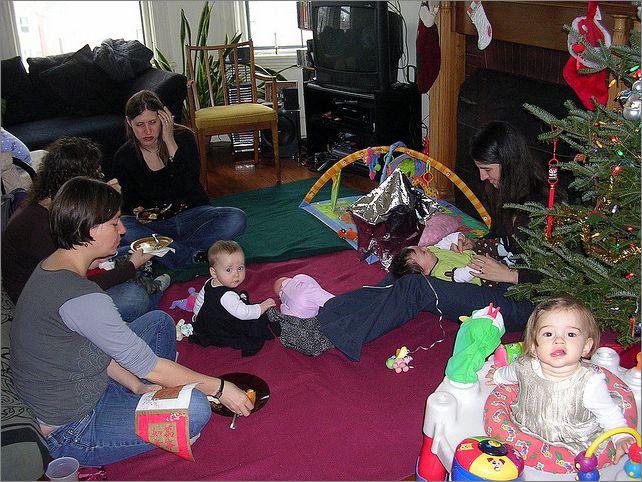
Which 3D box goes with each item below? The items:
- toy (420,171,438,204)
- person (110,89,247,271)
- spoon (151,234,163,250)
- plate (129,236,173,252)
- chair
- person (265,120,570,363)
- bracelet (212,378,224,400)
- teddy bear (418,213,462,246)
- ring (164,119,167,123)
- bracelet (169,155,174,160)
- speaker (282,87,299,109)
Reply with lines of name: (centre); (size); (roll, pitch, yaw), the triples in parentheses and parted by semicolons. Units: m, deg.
toy: (0.846, -0.400, 3.685); (0.064, 0.255, 0.184); (-13, 44, 22)
person: (-1.022, -0.391, 3.112); (0.803, 1.032, 0.793); (14, 32, 21)
spoon: (-1.004, 0.002, 2.894); (0.089, 0.024, 0.093); (0, 38, -11)
plate: (-1.039, 0.017, 2.892); (0.143, 0.019, 0.142); (-12, 33, -24)
chair: (-0.918, -1.295, 4.793); (0.873, 1.353, 0.912); (-16, 27, -28)
person: (0.530, 0.011, 2.502); (1.499, 1.058, 0.679); (-9, 19, 2)
bracelet: (-0.399, 0.577, 1.860); (0.046, 0.078, 0.074); (12, 23, -16)
teddy bear: (0.831, -0.101, 3.284); (0.335, 0.104, 0.185); (-24, 37, -37)
ring: (-1.031, -0.781, 3.104); (0.018, 0.005, 0.018); (3, 45, -3)
bracelet: (-1.019, -0.557, 3.181); (0.023, 0.033, 0.010); (-3, -5, -18)
speaker: (-0.321, -1.561, 5.207); (0.191, 0.244, 0.249); (1, 35, 0)
